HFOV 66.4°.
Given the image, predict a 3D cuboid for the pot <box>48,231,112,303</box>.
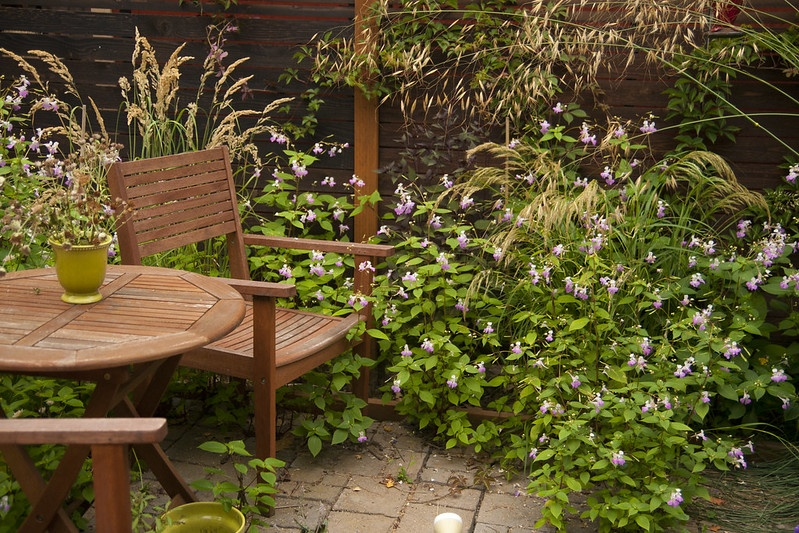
[{"bbox_3d":[-1.305,0.034,2.500,0.266,0.198,0.261,4,4,0],"label":"pot"}]
